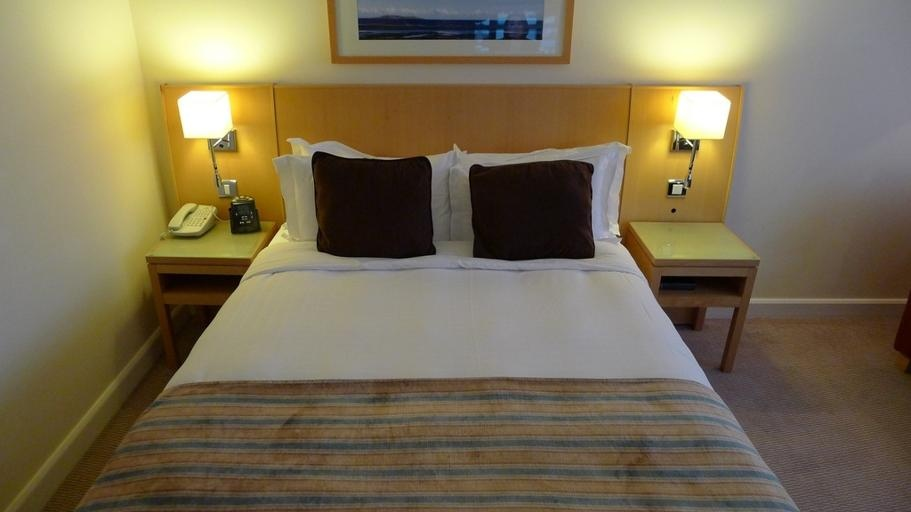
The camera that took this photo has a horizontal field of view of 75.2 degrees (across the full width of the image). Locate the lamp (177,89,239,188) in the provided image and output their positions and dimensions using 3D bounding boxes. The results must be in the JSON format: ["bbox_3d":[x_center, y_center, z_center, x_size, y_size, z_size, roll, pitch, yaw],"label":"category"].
[{"bbox_3d":[-1.823,-0.831,4.425,0.348,0.745,0.287,-8,29,-19],"label":"lamp"}]

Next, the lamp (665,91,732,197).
[{"bbox_3d":[1.821,-0.819,4.423,0.407,0.771,0.300,4,27,6],"label":"lamp"}]

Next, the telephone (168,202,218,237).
[{"bbox_3d":[-2.000,-0.241,4.462,0.281,0.146,0.348,-3,18,-2],"label":"telephone"}]
